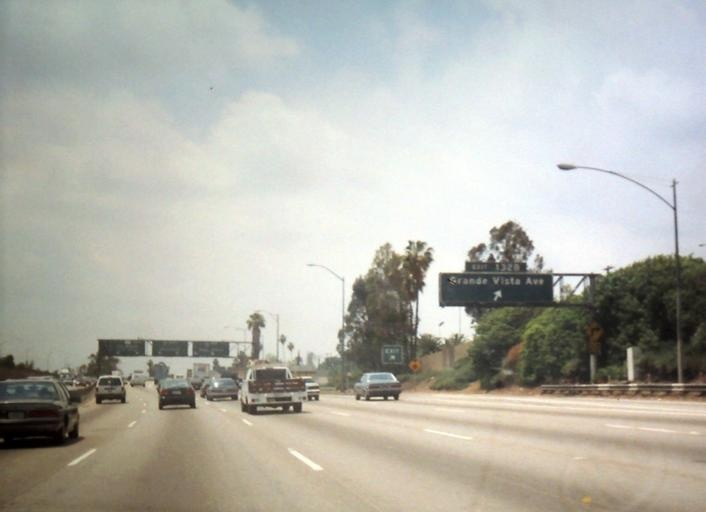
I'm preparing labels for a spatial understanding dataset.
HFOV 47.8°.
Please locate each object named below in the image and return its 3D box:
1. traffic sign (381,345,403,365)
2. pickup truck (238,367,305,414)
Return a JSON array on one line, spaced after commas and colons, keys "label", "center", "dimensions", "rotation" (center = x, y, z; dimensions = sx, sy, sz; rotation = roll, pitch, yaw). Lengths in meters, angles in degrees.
[{"label": "traffic sign", "center": [4.024, 10.143, 82.310], "dimensions": [1.994, 1.833, 1.040], "rotation": [1, -11, 9]}, {"label": "pickup truck", "center": [-2.674, 6.238, 36.752], "dimensions": [2.569, 2.394, 5.429], "rotation": [3, -11, -10]}]
